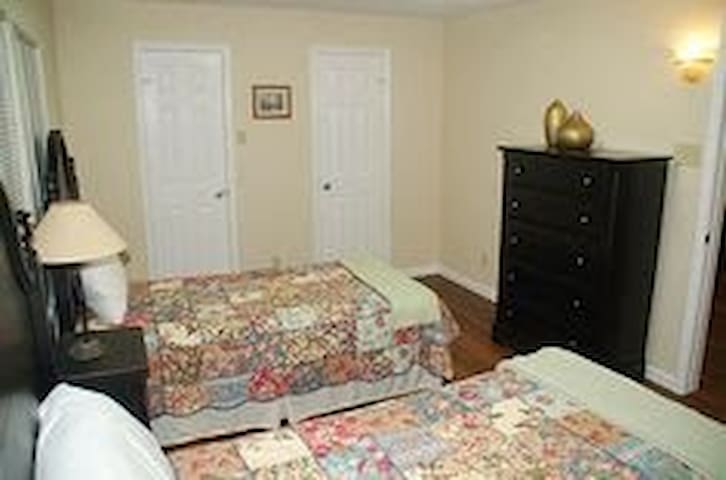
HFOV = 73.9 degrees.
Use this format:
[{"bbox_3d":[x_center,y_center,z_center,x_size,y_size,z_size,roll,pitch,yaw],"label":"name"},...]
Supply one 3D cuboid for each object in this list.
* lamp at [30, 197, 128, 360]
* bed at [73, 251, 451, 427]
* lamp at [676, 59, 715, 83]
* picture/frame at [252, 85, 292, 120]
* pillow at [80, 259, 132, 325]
[{"bbox_3d":[-1.694,0.233,2.914,0.509,0.947,0.519,3,10,3],"label":"lamp"},{"bbox_3d":[-0.526,0.685,3.735,1.912,0.535,1.233,-5,20,-22],"label":"bed"},{"bbox_3d":[2.526,-1.284,3.657,0.162,0.144,0.174,-1,21,3],"label":"lamp"},{"bbox_3d":[-1.060,-1.587,5.502,0.391,0.338,0.031,-4,9,-22],"label":"picture/frame"},{"bbox_3d":[-1.814,0.365,3.367,0.149,0.285,0.418,-3,15,-21],"label":"pillow"}]
